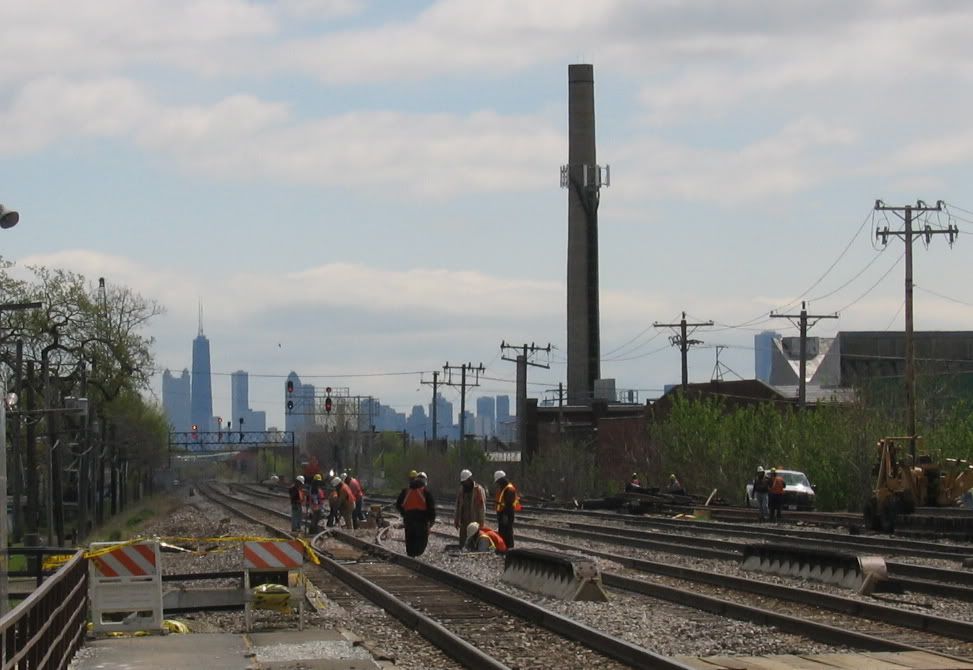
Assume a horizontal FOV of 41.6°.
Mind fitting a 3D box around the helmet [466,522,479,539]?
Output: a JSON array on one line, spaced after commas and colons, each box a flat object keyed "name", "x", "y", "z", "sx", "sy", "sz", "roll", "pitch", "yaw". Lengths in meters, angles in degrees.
[{"name": "helmet", "x": -0.415, "y": 5.378, "z": 35.645, "sx": 0.329, "sy": 0.436, "sz": 0.416, "roll": 1, "pitch": 10, "yaw": -18}]

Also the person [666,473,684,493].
[{"name": "person", "x": 8.931, "y": 7.196, "z": 60.586, "sx": 0.639, "sy": 0.636, "sz": 1.536, "roll": -2, "pitch": -26, "yaw": 7}]

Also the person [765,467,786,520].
[{"name": "person", "x": 10.710, "y": 5.890, "z": 47.375, "sx": 0.527, "sy": 1.837, "sz": 1.419, "roll": -2, "pitch": -4, "yaw": 8}]

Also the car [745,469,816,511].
[{"name": "car", "x": 12.846, "y": 6.565, "z": 54.304, "sx": 1.580, "sy": 1.289, "sz": 3.607, "roll": 0, "pitch": -10, "yaw": -2}]

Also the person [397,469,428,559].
[{"name": "person", "x": -1.986, "y": 4.838, "z": 34.686, "sx": 0.850, "sy": 2.237, "sz": 1.468, "roll": -1, "pitch": -4, "yaw": -4}]

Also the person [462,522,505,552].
[{"name": "person", "x": -0.052, "y": 5.650, "z": 35.682, "sx": 0.969, "sy": 0.489, "sz": 0.753, "roll": 6, "pitch": -1, "yaw": 23}]
